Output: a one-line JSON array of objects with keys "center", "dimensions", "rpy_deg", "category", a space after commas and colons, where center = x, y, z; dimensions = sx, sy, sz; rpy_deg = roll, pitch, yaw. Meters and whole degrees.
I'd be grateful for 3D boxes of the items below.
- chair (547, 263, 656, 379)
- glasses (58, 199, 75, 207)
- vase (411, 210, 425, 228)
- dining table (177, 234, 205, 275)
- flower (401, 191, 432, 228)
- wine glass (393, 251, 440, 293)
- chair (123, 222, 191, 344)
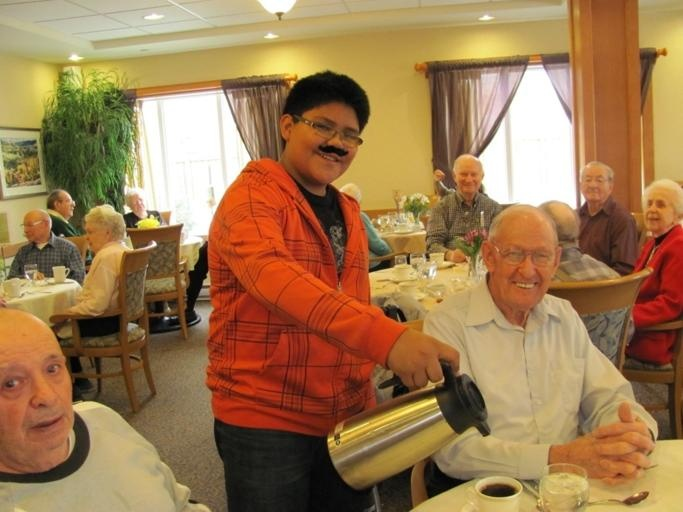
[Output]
[{"center": [1.076, 0.272, 2.321], "dimensions": [0.411, 0.515, 0.392], "rpy_deg": [-2, 36, 10], "category": "chair"}, {"center": [-3.209, -0.636, 5.908], "dimensions": [0.114, 0.126, 0.098], "rpy_deg": [-20, 17, -32], "category": "glasses"}, {"center": [0.928, -0.444, 5.987], "dimensions": [0.196, 0.186, 0.194], "rpy_deg": [-1, 12, 3], "category": "vase"}, {"center": [-1.812, -0.032, 6.105], "dimensions": [0.360, 0.254, 0.357], "rpy_deg": [-8, 30, -17], "category": "dining table"}, {"center": [0.857, -0.558, 5.920], "dimensions": [0.323, 0.320, 0.313], "rpy_deg": [-1, -10, 2], "category": "flower"}, {"center": [0.483, 0.105, 3.249], "dimensions": [0.257, 0.183, 0.405], "rpy_deg": [-2, 4, 6], "category": "wine glass"}, {"center": [-2.027, 0.304, 5.431], "dimensions": [0.736, 0.985, 0.674], "rpy_deg": [-17, 13, 9], "category": "chair"}]
